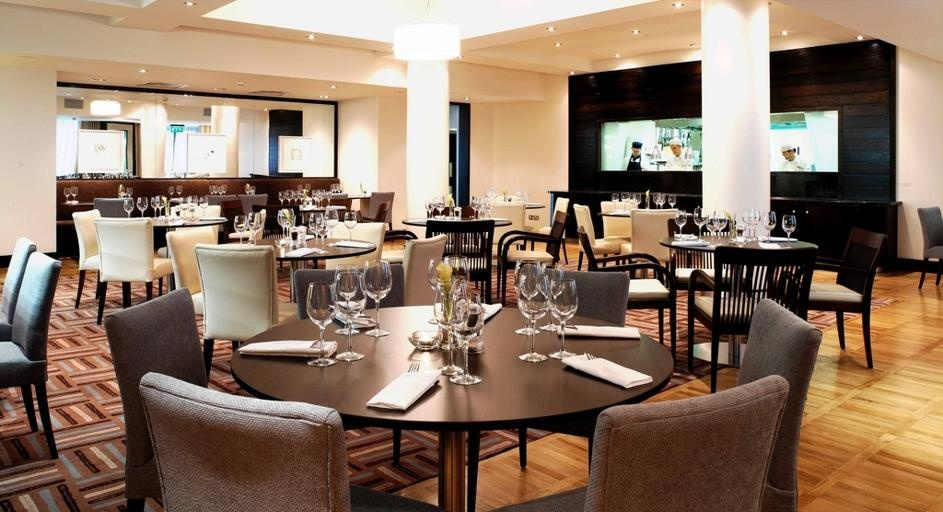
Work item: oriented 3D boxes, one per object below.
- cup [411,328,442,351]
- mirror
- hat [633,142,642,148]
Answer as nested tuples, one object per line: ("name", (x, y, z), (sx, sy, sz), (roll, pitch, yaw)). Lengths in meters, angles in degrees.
("cup", (-0.276, 0.507, 3.581), (0.142, 0.064, 0.135), (0, 13, 0))
("mirror", (-5.751, -2.602, 12.561), (5.391, 1.828, 0.578), (-5, 8, -31))
("hat", (3.633, -2.413, 12.794), (0.139, 0.070, 0.121), (4, 5, -9))
